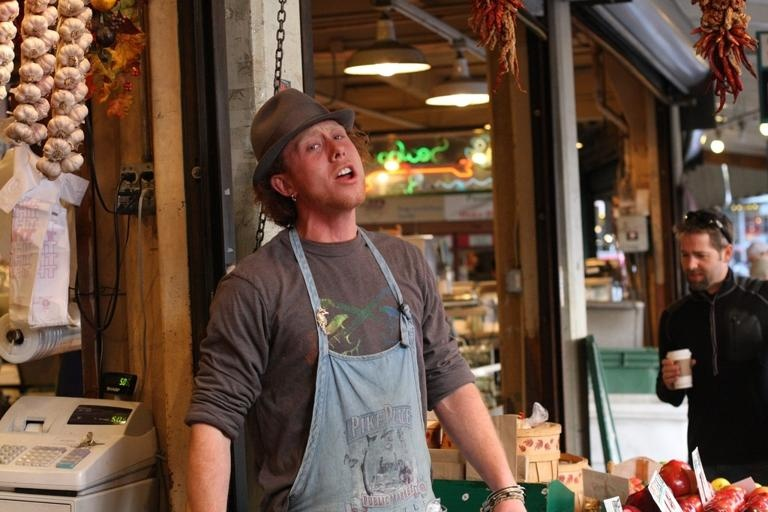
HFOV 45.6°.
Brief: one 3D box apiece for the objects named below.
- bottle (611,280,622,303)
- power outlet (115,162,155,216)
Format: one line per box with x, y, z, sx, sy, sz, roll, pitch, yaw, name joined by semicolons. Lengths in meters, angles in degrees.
2.604;0.389;10.229;0.096;0.216;0.052;1;8;38;bottle
-1.177;-0.318;4.381;0.215;0.243;0.062;-2;-7;36;power outlet
